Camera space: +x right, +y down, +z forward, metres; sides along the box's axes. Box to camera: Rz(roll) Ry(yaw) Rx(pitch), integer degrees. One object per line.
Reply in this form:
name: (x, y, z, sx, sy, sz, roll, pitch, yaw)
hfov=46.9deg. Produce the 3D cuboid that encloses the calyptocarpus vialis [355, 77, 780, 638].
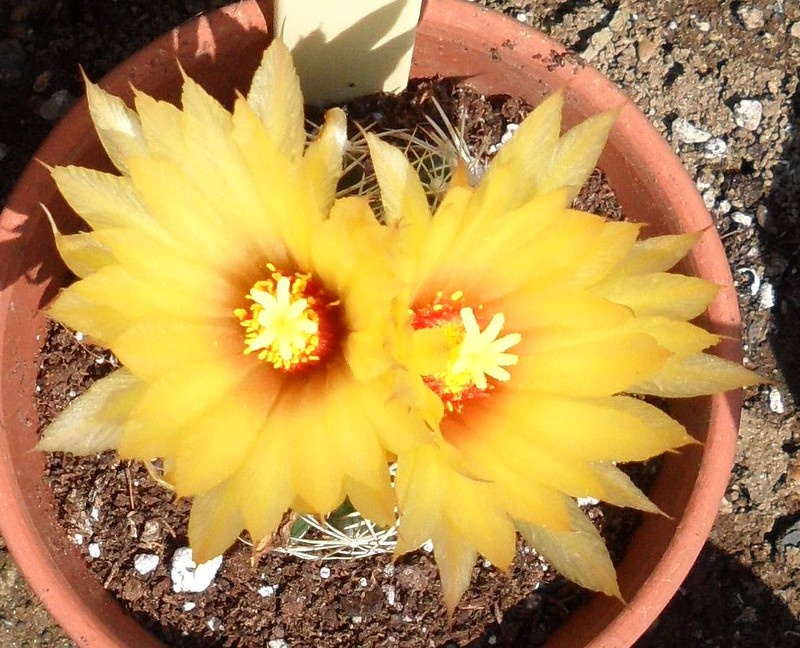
calyptocarpus vialis: (0.140, 0.014, 1.461, 0.687, 0.284, 0.705, -35, 108, -7)

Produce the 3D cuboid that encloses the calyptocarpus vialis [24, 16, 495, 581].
calyptocarpus vialis: (-0.248, 0.003, 1.432, 0.575, 0.596, 0.731, -9, 86, -2)
